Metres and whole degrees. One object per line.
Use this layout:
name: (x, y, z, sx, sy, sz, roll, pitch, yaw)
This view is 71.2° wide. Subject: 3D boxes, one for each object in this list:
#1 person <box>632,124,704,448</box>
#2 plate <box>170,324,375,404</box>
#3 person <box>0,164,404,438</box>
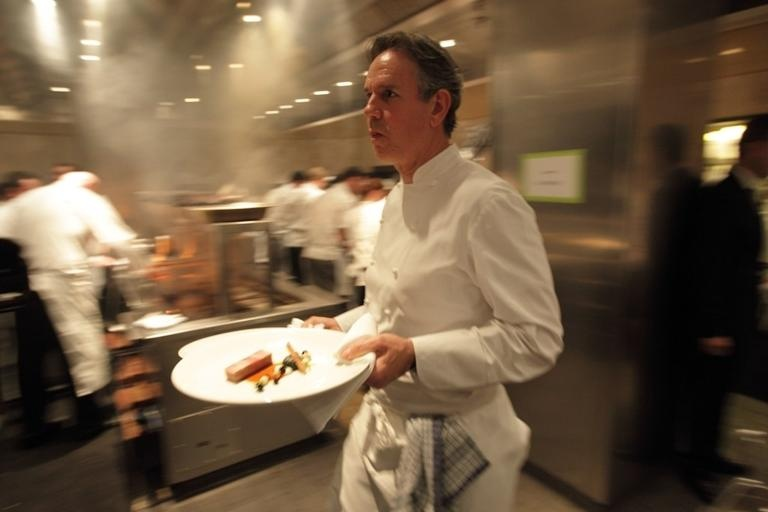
person: (1.594, 0.221, 2.998, 0.322, 1.866, 0.092, -7, 9, -15)
plate: (-0.494, 0.418, 2.109, 0.543, 0.084, 0.450, -3, 13, -20)
person: (-1.002, 0.137, 3.111, 1.272, 1.985, 0.936, 16, 28, 10)
